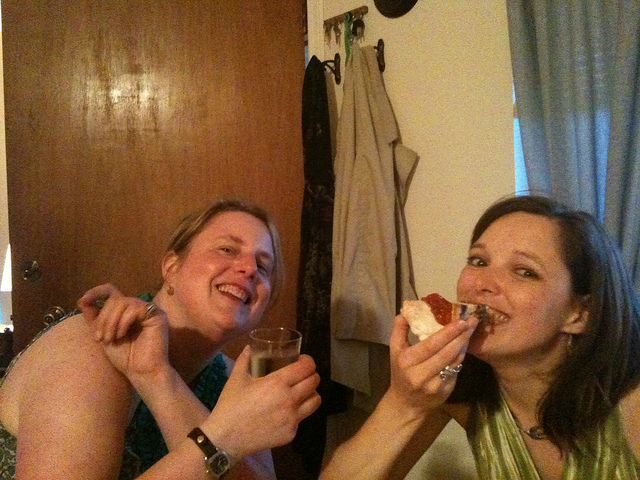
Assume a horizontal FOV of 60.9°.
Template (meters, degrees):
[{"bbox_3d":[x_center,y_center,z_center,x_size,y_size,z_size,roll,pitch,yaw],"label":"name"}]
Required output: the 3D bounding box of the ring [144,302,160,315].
[{"bbox_3d":[-0.490,0.197,1.569,0.033,0.025,0.012,-38,-8,-26],"label":"ring"}]

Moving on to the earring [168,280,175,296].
[{"bbox_3d":[-0.506,0.164,1.853,0.027,0.032,0.059,-11,32,-8],"label":"earring"}]

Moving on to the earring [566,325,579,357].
[{"bbox_3d":[0.781,0.328,1.684,0.035,0.064,0.038,1,6,24],"label":"earring"}]

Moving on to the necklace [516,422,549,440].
[{"bbox_3d":[0.688,0.604,1.753,0.041,0.035,0.116,-2,2,-8],"label":"necklace"}]

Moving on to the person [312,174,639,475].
[{"bbox_3d":[0.565,0.348,1.688,0.727,0.951,0.597,1,7,31],"label":"person"}]

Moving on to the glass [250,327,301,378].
[{"bbox_3d":[-0.136,0.321,1.582,0.120,0.132,0.147,2,-2,-25],"label":"glass"}]

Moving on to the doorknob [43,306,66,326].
[{"bbox_3d":[-1.220,0.342,2.504,0.094,0.075,0.105,-34,3,-21],"label":"doorknob"}]

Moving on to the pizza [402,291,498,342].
[{"bbox_3d":[0.375,0.223,1.643,0.179,0.065,0.179,6,-2,-20],"label":"pizza"}]

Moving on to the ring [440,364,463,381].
[{"bbox_3d":[0.382,0.380,1.575,0.061,0.038,0.022,-4,30,-42],"label":"ring"}]
